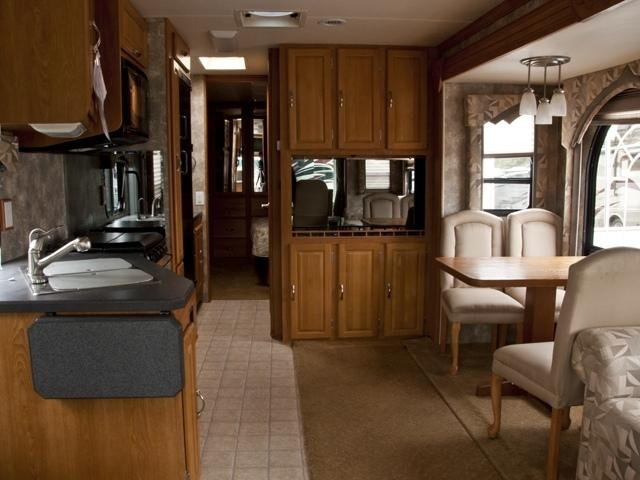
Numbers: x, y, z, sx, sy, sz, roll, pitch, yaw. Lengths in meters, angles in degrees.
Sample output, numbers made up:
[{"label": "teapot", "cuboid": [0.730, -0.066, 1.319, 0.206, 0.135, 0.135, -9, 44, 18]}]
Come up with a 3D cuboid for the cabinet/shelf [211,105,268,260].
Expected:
[{"label": "cabinet/shelf", "cuboid": [-1.256, -0.877, 8.049, 0.889, 2.430, 0.447, -2, 11, -6]}]

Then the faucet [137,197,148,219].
[{"label": "faucet", "cuboid": [-1.436, -0.256, 4.214, 0.086, 0.175, 0.025, 5, 13, 29]}]

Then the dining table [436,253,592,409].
[{"label": "dining table", "cuboid": [1.308, 0.520, 3.640, 1.086, 0.543, 0.580, -1, 5, -8]}]

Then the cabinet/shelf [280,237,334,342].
[{"label": "cabinet/shelf", "cuboid": [-0.070, 0.410, 4.831, 0.509, 0.918, 0.490, 3, 14, 13]}]

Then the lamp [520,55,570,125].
[{"label": "lamp", "cuboid": [1.639, -1.090, 3.769, 0.312, 0.413, 0.297, -6, 35, -32]}]

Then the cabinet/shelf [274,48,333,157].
[{"label": "cabinet/shelf", "cuboid": [-0.235, -1.217, 4.624, 0.657, 0.948, 0.602, -1, 21, 10]}]

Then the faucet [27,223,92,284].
[{"label": "faucet", "cuboid": [-1.409, 0.061, 2.790, 0.099, 0.255, 0.379, -2, 7, 24]}]

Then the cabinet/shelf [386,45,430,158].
[{"label": "cabinet/shelf", "cuboid": [0.745, -1.211, 4.547, 0.359, 0.827, 0.125, -3, 8, -11]}]

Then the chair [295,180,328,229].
[{"label": "chair", "cuboid": [-0.088, -0.316, 4.631, 0.391, 0.554, 0.307, 0, 12, -5]}]
